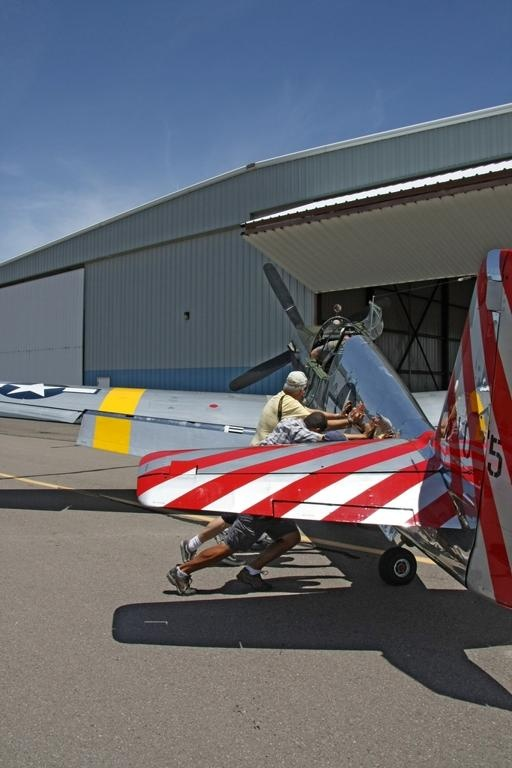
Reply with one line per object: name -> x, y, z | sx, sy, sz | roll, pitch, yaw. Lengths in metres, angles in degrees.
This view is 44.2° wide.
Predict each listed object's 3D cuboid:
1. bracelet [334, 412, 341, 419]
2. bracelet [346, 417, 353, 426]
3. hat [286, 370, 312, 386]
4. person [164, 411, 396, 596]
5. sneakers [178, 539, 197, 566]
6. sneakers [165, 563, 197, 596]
bracelet -> 0.589, 0.235, 4.521 | 0.033, 0.017, 0.031 | 7, 24, -4
bracelet -> 0.651, 0.268, 4.403 | 0.051, 0.051, 0.021 | 1, -18, -2
hat -> 0.296, -0.038, 4.523 | 0.103, 0.076, 0.147 | 5, 13, 3
person -> 0.044, 0.612, 3.881 | 0.641, 1.140, 1.232 | -24, -27, 34
sneakers -> -0.433, 1.044, 3.927 | 0.080, 0.177, 0.060 | -13, 17, -10
sneakers -> -0.442, 1.162, 3.757 | 0.120, 0.246, 0.091 | -32, 0, -1
